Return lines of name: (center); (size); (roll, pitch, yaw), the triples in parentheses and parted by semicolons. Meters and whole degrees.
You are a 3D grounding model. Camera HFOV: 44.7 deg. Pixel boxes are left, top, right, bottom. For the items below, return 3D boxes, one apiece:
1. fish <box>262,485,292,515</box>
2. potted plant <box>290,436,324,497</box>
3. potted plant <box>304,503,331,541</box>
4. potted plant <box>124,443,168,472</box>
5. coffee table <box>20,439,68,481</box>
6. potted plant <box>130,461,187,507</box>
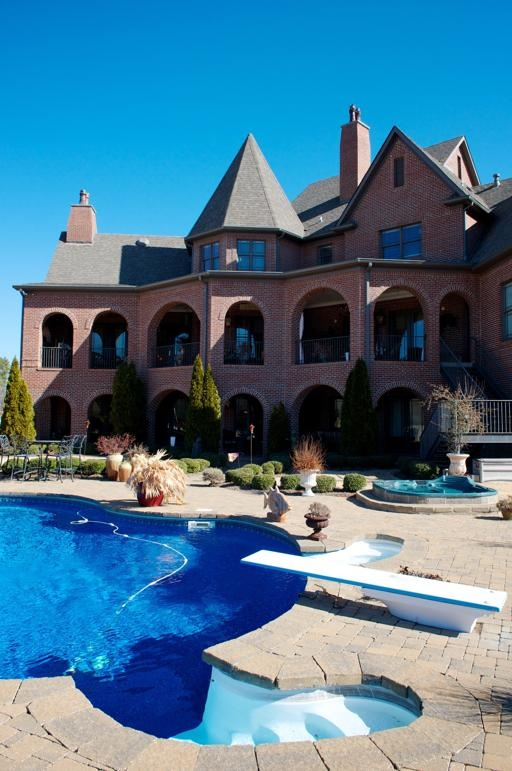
fish: (0.416, 2.358, 12.640); (0.354, 0.497, 0.821); (2, -6, -10)
potted plant: (1.379, 2.121, 16.070); (0.803, 1.415, 0.888); (0, -6, 34)
potted plant: (1.126, 2.347, 10.721); (0.490, 0.655, 0.503); (2, 4, 33)
potted plant: (-3.334, 2.148, 18.577); (1.343, 0.909, 1.288); (2, 1, -29)
coffee table: (-6.891, 2.449, 20.232); (1.148, 0.847, 1.151); (-2, 3, -30)
potted plant: (-2.332, 2.203, 14.663); (1.042, 1.035, 1.066); (0, -5, 31)
